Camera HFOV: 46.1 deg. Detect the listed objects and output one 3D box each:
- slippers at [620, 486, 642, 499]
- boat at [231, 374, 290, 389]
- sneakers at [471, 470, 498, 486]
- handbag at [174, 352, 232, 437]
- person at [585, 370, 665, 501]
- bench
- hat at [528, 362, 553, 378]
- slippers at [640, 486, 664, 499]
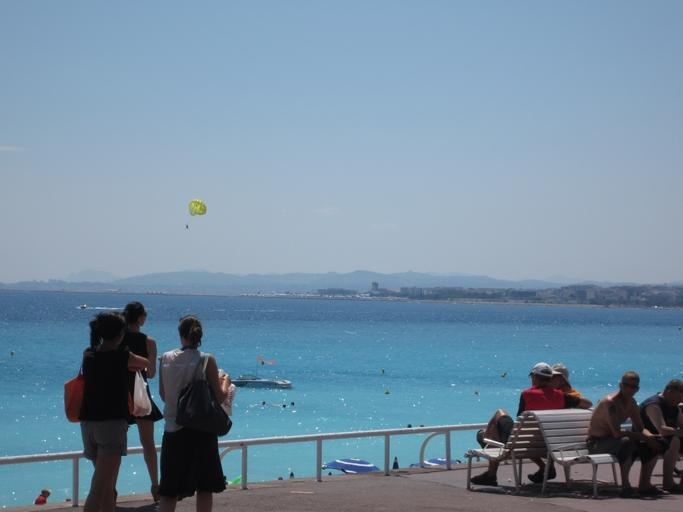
[{"bbox_3d":[3.959,3.228,10.921,0.248,0.135,0.136,-3,-11,18],"label":"slippers"},{"bbox_3d":[-5.280,8.442,53.299,2.965,0.973,5.497,6,-12,-30],"label":"boat"},{"bbox_3d":[2.088,3.239,11.664,0.348,0.142,0.179,2,-4,13],"label":"sneakers"},{"bbox_3d":[-1.676,1.498,9.448,0.485,1.025,0.769,7,-29,-28],"label":"handbag"},{"bbox_3d":[4.051,2.494,11.388,0.841,1.699,0.897,-9,-14,41],"label":"person"},{"bbox_3d":[2.825,2.763,11.354,1.176,1.039,1.864,5,-5,-36],"label":"bench"},{"bbox_3d":[2.943,1.741,11.766,0.377,0.255,0.486,6,1,14],"label":"hat"},{"bbox_3d":[4.314,3.249,11.056,0.476,0.129,0.237,8,-13,-35],"label":"slippers"}]
